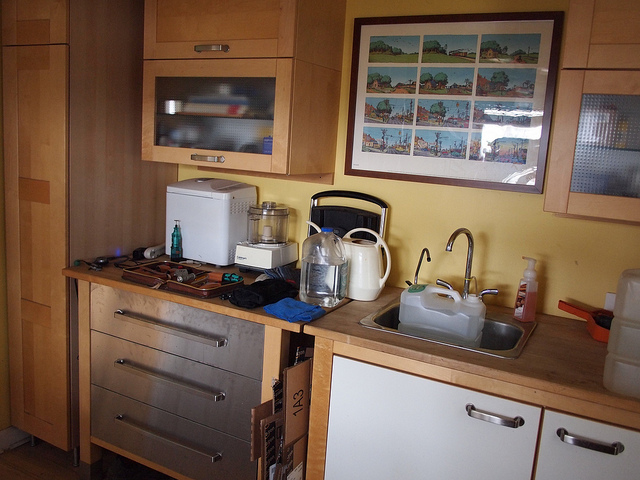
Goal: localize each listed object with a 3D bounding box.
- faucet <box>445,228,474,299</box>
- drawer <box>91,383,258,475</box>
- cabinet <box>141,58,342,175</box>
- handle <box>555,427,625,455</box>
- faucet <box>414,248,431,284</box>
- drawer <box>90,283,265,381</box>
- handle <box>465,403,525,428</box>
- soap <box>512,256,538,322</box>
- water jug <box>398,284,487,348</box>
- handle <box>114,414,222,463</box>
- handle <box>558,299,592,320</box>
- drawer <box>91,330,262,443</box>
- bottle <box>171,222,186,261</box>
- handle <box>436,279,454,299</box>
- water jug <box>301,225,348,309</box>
[{"bbox_3d":[0.595,0.083,2.202,0.129,0.344,0.123,7,15,16],"label":"faucet"},{"bbox_3d":[-0.720,0.919,2.430,0.526,0.124,0.477,13,1,27],"label":"drawer"},{"bbox_3d":[-0.433,-0.620,2.575,1.003,0.521,0.393,6,12,10],"label":"cabinet"},{"bbox_3d":[0.907,0.682,1.745,0.212,0.053,0.024,7,13,18],"label":"handle"},{"bbox_3d":[0.476,0.120,2.409,0.058,0.195,0.286,6,12,12],"label":"faucet"},{"bbox_3d":[-0.692,0.406,2.371,0.988,0.261,0.051,9,13,24],"label":"drawer"},{"bbox_3d":[0.617,0.628,1.839,0.205,0.056,0.031,7,13,16],"label":"handle"},{"bbox_3d":[0.895,0.215,2.297,0.096,0.276,0.095,7,8,30],"label":"soap"},{"bbox_3d":[0.507,0.303,2.183,0.337,0.211,0.139,9,13,23],"label":"water jug"},{"bbox_3d":[-0.734,0.927,2.451,0.587,0.031,0.085,9,37,14],"label":"handle"},{"bbox_3d":[1.095,0.301,2.238,0.094,0.024,0.060,17,15,38],"label":"handle"},{"bbox_3d":[-0.692,0.637,2.453,0.710,0.437,0.521,3,12,-7],"label":"drawer"},{"bbox_3d":[-0.761,0.009,2.748,0.076,0.194,0.063,4,12,5],"label":"bottle"},{"bbox_3d":[0.544,0.218,2.269,0.069,0.099,0.028,20,35,33],"label":"handle"},{"bbox_3d":[0.011,0.123,2.306,0.161,0.392,0.165,-5,19,-35],"label":"water jug"}]
